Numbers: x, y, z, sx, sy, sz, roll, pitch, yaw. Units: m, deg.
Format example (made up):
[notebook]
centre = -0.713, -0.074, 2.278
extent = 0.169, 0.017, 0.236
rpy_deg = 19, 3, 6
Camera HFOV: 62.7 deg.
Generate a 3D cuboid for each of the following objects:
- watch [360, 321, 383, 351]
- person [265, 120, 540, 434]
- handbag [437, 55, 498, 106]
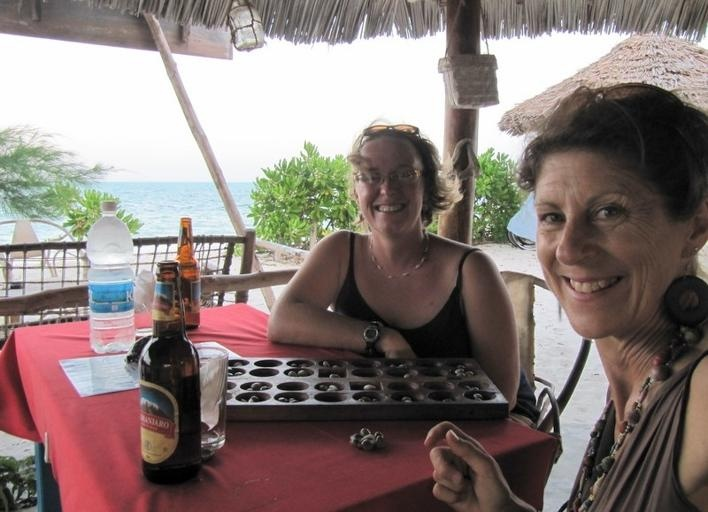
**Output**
[watch]
centre = 0.059, 0.316, 2.273
extent = 0.062, 0.098, 0.104
rpy_deg = 8, -15, 4
[person]
centre = 0.163, 0.128, 2.606
extent = 1.057, 1.562, 1.044
rpy_deg = -2, -8, 13
[handbag]
centre = 0.688, -1.054, 3.480
extent = 0.326, 0.369, 0.240
rpy_deg = 0, -8, -19
